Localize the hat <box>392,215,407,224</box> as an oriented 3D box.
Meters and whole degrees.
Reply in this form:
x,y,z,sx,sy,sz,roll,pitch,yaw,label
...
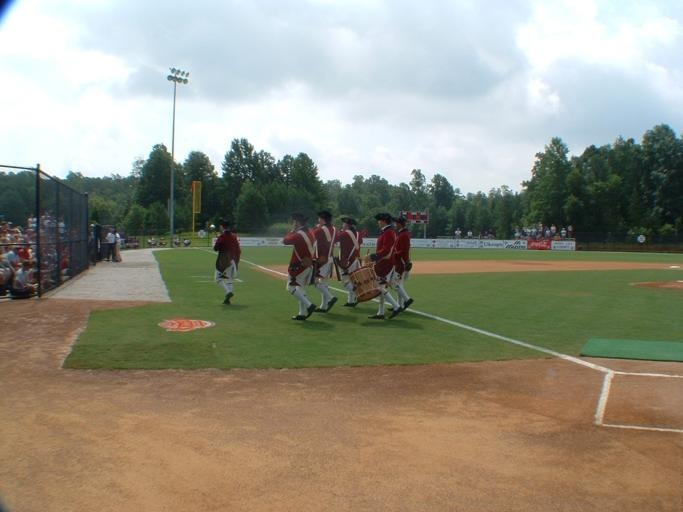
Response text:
x,y,z,sx,sy,sz,roll,pitch,yaw,label
1.260,-0.751,13.667,0.353,0.168,0.418,12,6,-5,hat

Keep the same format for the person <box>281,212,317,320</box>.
x,y,z,sx,sy,sz,roll,pitch,yaw,label
-0.837,0.245,13.312,0.610,2.202,0.627,1,8,5,person

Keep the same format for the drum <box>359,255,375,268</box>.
x,y,z,sx,sy,sz,roll,pitch,yaw,label
0.577,0.128,13.912,0.202,0.308,0.314,-1,-2,-34,drum

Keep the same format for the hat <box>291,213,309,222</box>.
x,y,z,sx,sy,sz,roll,pitch,yaw,label
-0.930,-0.843,13.387,0.234,0.129,0.206,9,1,33,hat

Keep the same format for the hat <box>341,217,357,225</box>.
x,y,z,sx,sy,sz,roll,pitch,yaw,label
0.141,-0.782,14.114,0.230,0.109,0.221,9,1,2,hat

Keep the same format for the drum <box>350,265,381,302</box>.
x,y,z,sx,sy,sz,roll,pitch,yaw,label
0.415,0.552,13.425,0.567,0.578,0.576,-14,-1,-15,drum

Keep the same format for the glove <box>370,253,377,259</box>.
x,y,z,sx,sy,sz,roll,pitch,yaw,label
0.668,0.004,13.457,0.136,0.131,0.328,0,8,-4,glove

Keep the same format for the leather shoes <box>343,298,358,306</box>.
x,y,z,sx,sy,sz,roll,pitch,yaw,label
0.205,1.148,15.537,0.476,0.193,0.148,1,-4,29,leather shoes
